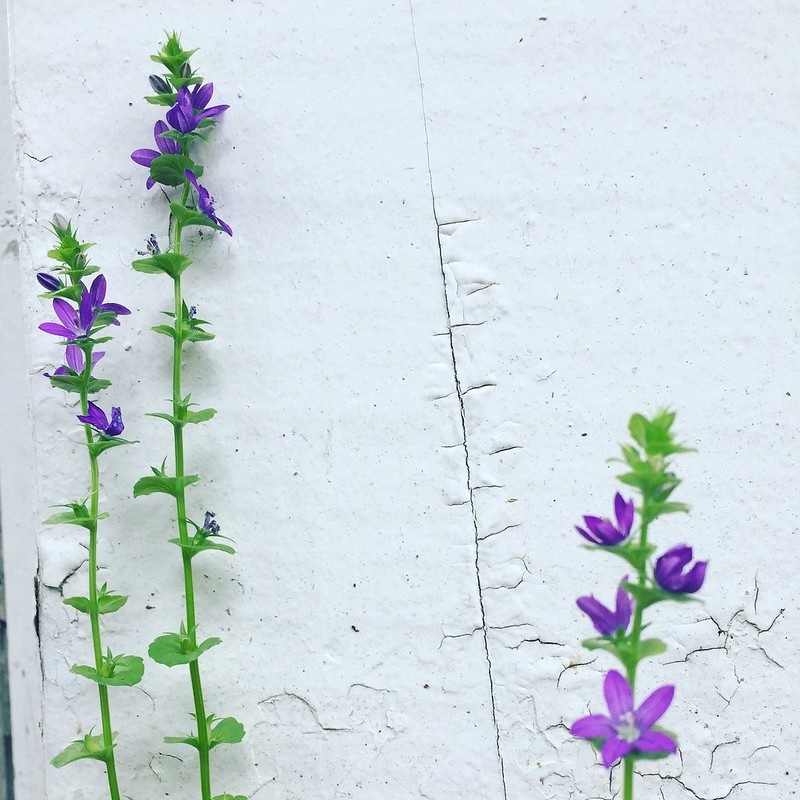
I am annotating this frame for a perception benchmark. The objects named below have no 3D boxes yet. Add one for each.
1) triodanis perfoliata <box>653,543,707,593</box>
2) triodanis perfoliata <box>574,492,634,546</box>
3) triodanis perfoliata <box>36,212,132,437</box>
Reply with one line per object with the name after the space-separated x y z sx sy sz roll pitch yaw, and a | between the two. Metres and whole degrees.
0.426 0.250 2.956 0.066 0.078 0.071 6 91 1 | triodanis perfoliata
0.321 0.198 3.052 0.094 0.237 0.067 -35 85 -4 | triodanis perfoliata
-0.538 -0.117 3.317 0.167 0.212 0.390 -5 84 -1 | triodanis perfoliata
